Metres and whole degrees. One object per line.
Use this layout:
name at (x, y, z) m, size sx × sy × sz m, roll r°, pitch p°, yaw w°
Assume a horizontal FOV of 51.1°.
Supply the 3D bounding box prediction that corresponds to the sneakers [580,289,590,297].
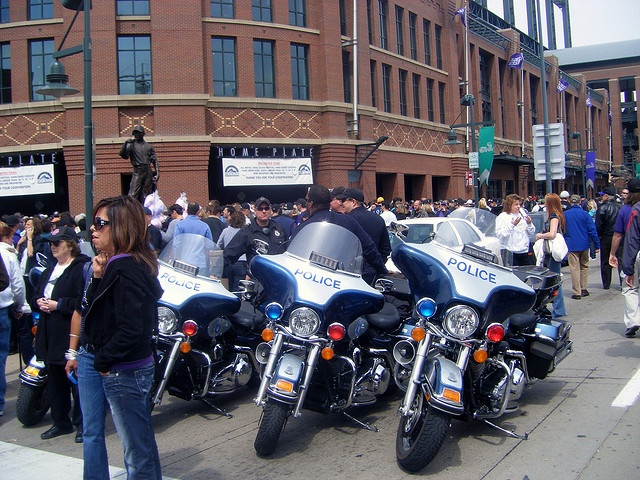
sneakers at (5.460, 1.091, 13.852) m, size 0.102 × 0.131 × 0.319 m, roll -4°, pitch -13°, yaw 22°

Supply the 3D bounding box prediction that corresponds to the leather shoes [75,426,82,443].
leather shoes at (-2.778, 2.257, 7.741) m, size 0.105 × 0.126 × 0.300 m, roll 2°, pitch -5°, yaw -15°

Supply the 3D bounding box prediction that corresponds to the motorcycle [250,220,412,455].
motorcycle at (0.039, 1.065, 7.365) m, size 1.790 × 2.388 × 0.770 m, roll -8°, pitch 14°, yaw -24°

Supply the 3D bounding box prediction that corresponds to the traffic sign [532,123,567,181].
traffic sign at (6.264, -2.436, 18.408) m, size 0.835 × 1.630 × 1.024 m, roll 2°, pitch 13°, yaw 18°

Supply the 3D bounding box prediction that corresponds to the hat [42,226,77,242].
hat at (-3.074, -0.070, 8.091) m, size 0.394 × 0.224 × 0.252 m, roll 1°, pitch -1°, yaw -42°

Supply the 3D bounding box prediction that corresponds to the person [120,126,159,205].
person at (-4.153, -1.720, 15.486) m, size 0.770 × 1.850 × 1.250 m, roll -6°, pitch 13°, yaw -15°

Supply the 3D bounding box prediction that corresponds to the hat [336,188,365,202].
hat at (0.445, -0.647, 9.376) m, size 0.264 × 0.155 × 0.198 m, roll 2°, pitch 2°, yaw -2°

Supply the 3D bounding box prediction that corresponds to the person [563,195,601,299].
person at (5.376, 0.100, 14.012) m, size 0.812 × 2.043 × 0.616 m, roll -1°, pitch 0°, yaw 21°

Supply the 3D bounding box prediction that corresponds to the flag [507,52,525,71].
flag at (11.936, -11.052, 40.920) m, size 0.703 × 0.804 × 1.445 m, roll 0°, pitch 13°, yaw 11°

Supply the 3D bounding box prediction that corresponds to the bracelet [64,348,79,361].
bracelet at (-2.495, 1.151, 6.772) m, size 0.136 × 0.122 × 0.144 m, roll -2°, pitch -3°, yaw 25°

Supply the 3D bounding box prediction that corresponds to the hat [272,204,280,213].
hat at (-1.002, -0.750, 15.175) m, size 0.159 × 0.200 × 0.231 m, roll -3°, pitch -11°, yaw 2°

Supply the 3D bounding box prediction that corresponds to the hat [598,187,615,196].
hat at (6.120, -1.047, 14.283) m, size 0.208 × 0.116 × 0.324 m, roll 20°, pitch 12°, yaw 16°
